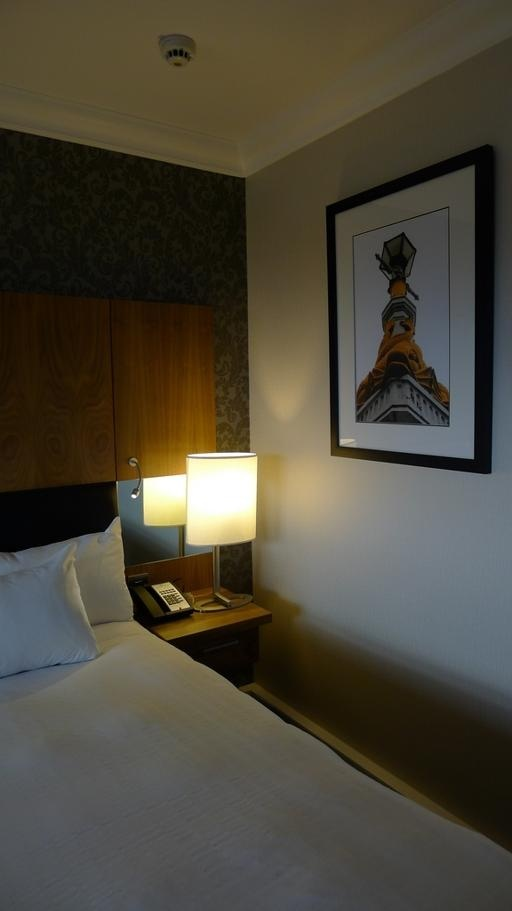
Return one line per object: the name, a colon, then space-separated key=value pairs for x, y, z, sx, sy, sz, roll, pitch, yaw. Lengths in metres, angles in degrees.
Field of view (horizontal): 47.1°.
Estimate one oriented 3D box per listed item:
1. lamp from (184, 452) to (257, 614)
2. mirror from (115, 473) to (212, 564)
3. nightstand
lamp: x=-0.140 y=0.327 z=2.515 sx=0.290 sy=0.714 sz=0.144 roll=-4 pitch=14 yaw=-25
mirror: x=-0.411 y=0.255 z=2.527 sx=0.335 sy=0.399 sz=0.006 roll=-4 pitch=5 yaw=-43
nightstand: x=-0.223 y=0.762 z=2.522 sx=0.409 sy=0.473 sz=0.313 roll=-3 pitch=6 yaw=-40
